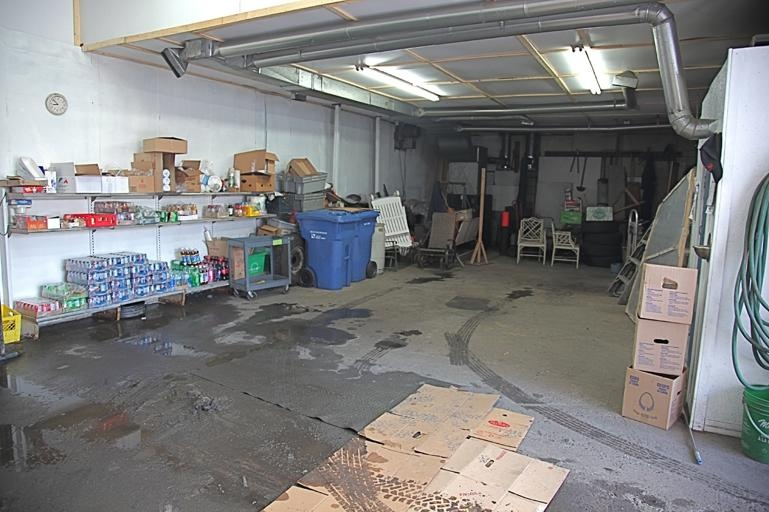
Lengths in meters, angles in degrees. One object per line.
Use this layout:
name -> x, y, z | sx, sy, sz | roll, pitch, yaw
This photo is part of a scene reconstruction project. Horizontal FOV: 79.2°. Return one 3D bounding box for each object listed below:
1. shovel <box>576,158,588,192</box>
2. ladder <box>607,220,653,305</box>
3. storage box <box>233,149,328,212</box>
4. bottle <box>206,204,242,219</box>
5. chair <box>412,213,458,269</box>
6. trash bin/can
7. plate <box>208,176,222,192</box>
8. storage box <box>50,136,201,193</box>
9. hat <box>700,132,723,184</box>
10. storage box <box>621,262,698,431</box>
shovel -> 5.546, -2.268, 12.995 | 0.200, 0.956, 0.128 | 4, 13, 23
ladder -> 4.202, 0.159, 7.967 | 0.429, 1.319, 0.976 | 19, 23, 14
storage box -> -1.850, -1.336, 8.508 | 1.105, 0.934, 1.558 | 14, 16, 41
bottle -> -2.702, -0.729, 7.776 | 0.398, 0.138, 0.357 | 5, 2, 17
chair -> 1.203, -0.367, 10.470 | 0.853, 1.168, 1.318 | 0, 11, 8
trash bin/can -> -0.818, -0.128, 8.291 | 1.284, 1.362, 0.741 | -4, 12, -14
plate -> -2.755, -1.167, 7.570 | 0.271, 0.225, 0.083 | 5, 1, -32
storage box -> -3.577, -1.237, 6.407 | 1.644, 0.783, 0.532 | -8, 13, -35
hat -> 2.920, -0.869, 4.144 | 0.132, 0.443, 0.289 | 3, 12, 19
storage box -> 2.540, 0.825, 4.275 | 0.554, 1.509, 0.379 | 3, 12, 19
